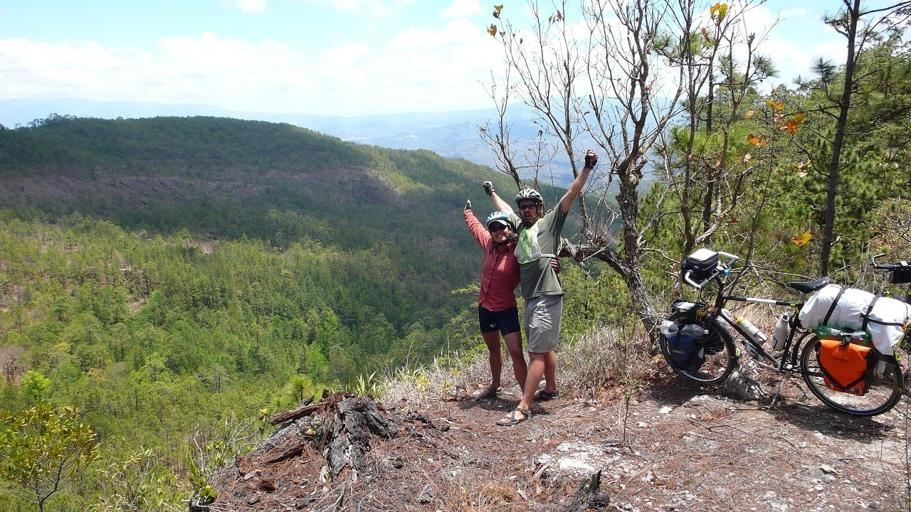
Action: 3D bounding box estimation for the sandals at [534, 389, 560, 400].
[{"bbox_3d":[2.333,3.493,17.107,0.557,0.219,0.244,-3,8,-14],"label":"sandals"}]

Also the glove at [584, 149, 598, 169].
[{"bbox_3d":[3.271,-2.341,16.423,0.454,0.543,0.401,-6,5,10],"label":"glove"}]
